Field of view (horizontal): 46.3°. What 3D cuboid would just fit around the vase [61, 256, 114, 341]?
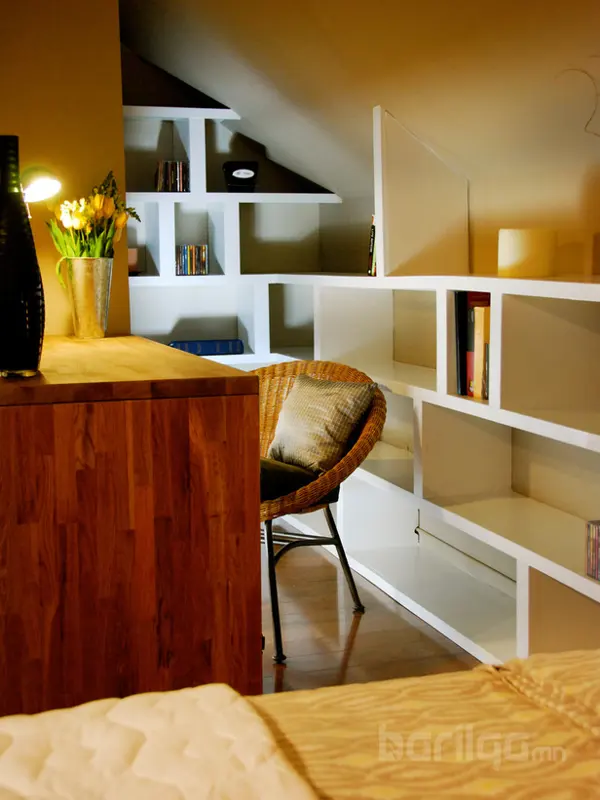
[{"bbox_3d":[-0.623,-0.306,2.111,0.164,0.231,0.160,-1,2,-28],"label":"vase"}]

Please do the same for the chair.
[{"bbox_3d":[0.045,0.341,2.329,0.523,0.701,0.629,-9,11,-25],"label":"chair"}]

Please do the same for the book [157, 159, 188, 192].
[{"bbox_3d":[-0.668,-1.170,3.715,0.153,0.171,0.164,0,-1,6],"label":"book"}]

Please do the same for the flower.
[{"bbox_3d":[-0.605,-0.500,2.081,0.234,0.232,0.257,-4,-17,-11],"label":"flower"}]

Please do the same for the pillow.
[{"bbox_3d":[0.082,0.084,2.294,0.098,0.299,0.317,29,-9,-38],"label":"pillow"}]
